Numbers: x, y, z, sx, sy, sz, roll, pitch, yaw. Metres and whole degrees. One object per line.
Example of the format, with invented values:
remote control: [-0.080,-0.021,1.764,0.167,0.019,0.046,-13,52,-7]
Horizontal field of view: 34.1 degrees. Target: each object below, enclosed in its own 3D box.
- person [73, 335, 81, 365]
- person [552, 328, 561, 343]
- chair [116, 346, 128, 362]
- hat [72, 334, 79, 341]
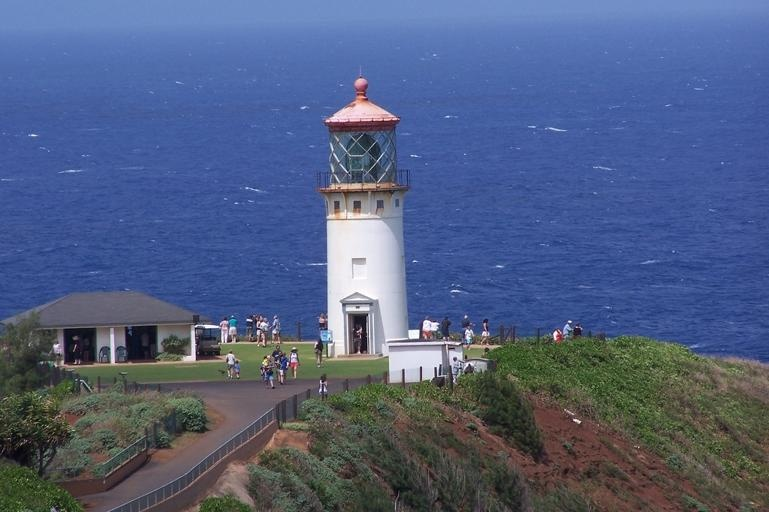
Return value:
person: [-24.797,7.475,101.080,0.567,2.256,0.607,-2,10,-15]
person: [14.363,6.490,103.121,0.798,1.005,0.420,-3,-9,8]
chair: [-21.255,7.858,101.376,0.894,1.291,0.540,-4,10,-29]
hat: [-24.923,6.562,101.067,0.416,0.380,0.412,0,1,12]
